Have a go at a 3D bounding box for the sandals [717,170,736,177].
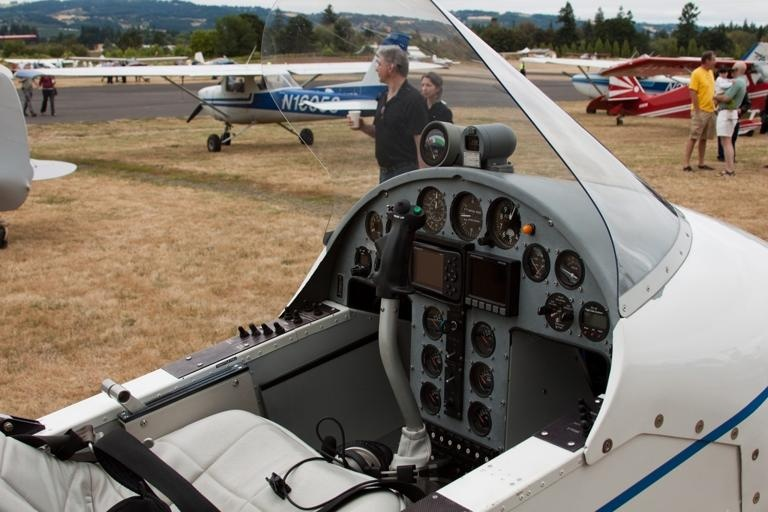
[{"bbox_3d":[5.621,-1.361,10.385,0.111,0.096,0.288,-1,24,0],"label":"sandals"}]
